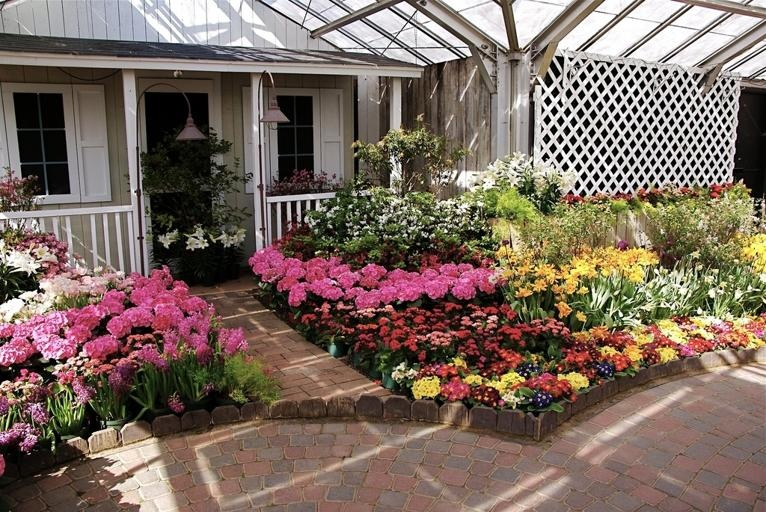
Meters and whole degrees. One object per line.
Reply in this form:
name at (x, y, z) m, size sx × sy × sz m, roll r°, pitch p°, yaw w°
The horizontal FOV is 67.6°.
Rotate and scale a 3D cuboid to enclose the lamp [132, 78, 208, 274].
lamp at (-2.757, -0.849, 7.348) m, size 0.866 × 2.805 × 0.359 m, roll -15°, pitch 42°, yaw -37°
